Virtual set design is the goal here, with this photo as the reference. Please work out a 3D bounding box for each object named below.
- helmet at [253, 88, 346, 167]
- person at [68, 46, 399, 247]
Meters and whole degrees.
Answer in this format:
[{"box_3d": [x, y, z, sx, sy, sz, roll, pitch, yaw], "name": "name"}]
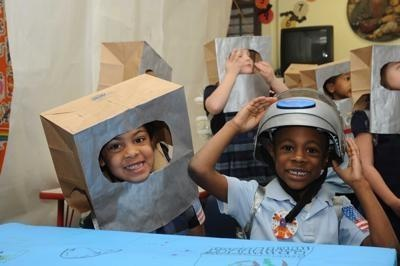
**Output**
[{"box_3d": [0.381, -0.059, 1.422, 0.237, 0.260, 0.319, 0, 38, 18], "name": "helmet"}, {"box_3d": [0.070, 0.159, 1.479, 0.981, 0.450, 0.630, -22, -14, 40], "name": "person"}]
